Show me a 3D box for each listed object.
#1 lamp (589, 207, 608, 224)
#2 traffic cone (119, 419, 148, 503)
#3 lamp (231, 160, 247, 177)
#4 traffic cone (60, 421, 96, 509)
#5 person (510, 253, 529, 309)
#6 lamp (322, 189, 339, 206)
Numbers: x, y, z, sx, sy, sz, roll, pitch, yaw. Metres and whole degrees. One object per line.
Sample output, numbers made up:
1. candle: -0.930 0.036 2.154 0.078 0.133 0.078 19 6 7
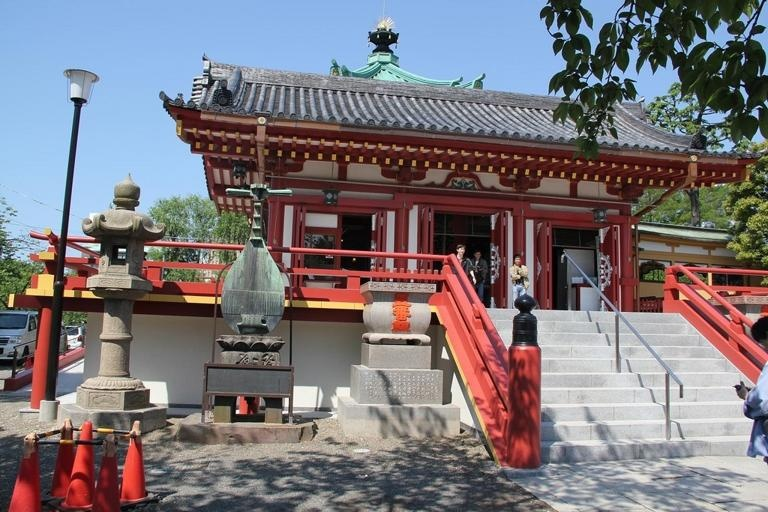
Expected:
1. lamp: 5.396 -0.999 18.214 0.380 0.362 0.358 1 -9 -1
2. traffic cone: -3.522 2.889 10.209 0.346 1.093 0.433 0 -12 -18
3. lamp: -3.367 -1.947 16.819 0.435 0.391 0.321 2 -10 -27
4. traffic cone: -4.158 2.965 9.867 0.415 0.919 0.343 -2 -11 -9
5. person: 3.244 0.522 17.307 0.463 1.176 1.361 -6 -11 10
6. lamp: -1.245 -1.339 17.131 0.409 0.391 0.316 1 -8 -11
